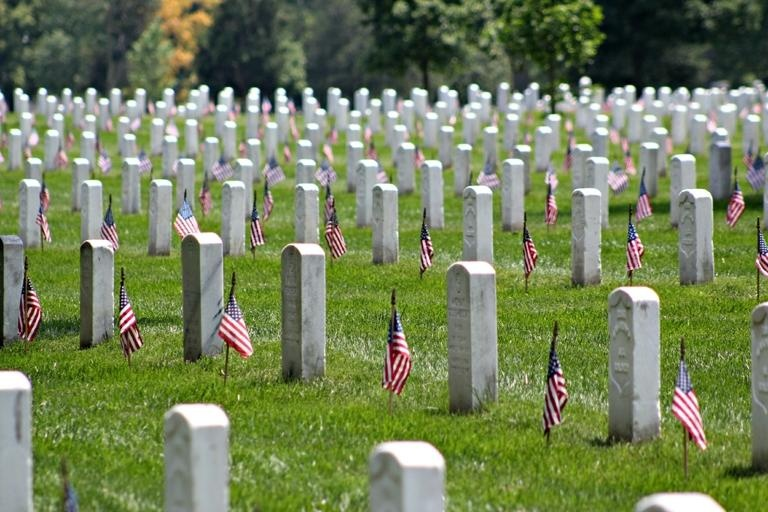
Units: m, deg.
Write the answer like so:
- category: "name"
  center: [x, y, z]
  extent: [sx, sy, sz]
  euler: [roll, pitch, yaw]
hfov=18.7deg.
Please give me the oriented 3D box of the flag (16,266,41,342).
- category: "flag"
  center: [-11.902, 1.676, 79.703]
  extent: [0.704, 2.804, 0.670]
  euler: [2, -4, -15]

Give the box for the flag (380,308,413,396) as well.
- category: "flag"
  center: [0.254, 3.039, 77.312]
  extent: [0.917, 3.056, 0.625]
  euler: [-6, 8, -5]

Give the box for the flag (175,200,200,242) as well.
- category: "flag"
  center: [-7.020, -1.370, 83.792]
  extent: [0.782, 1.382, 1.149]
  euler: [-1, 5, -2]

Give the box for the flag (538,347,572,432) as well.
- category: "flag"
  center: [5.385, 4.367, 76.480]
  extent: [0.732, 2.773, 0.345]
  euler: [-1, 5, 3]

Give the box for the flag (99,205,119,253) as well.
- category: "flag"
  center: [-9.798, -0.939, 84.125]
  extent: [0.536, 1.892, 0.796]
  euler: [-9, 34, -25]
